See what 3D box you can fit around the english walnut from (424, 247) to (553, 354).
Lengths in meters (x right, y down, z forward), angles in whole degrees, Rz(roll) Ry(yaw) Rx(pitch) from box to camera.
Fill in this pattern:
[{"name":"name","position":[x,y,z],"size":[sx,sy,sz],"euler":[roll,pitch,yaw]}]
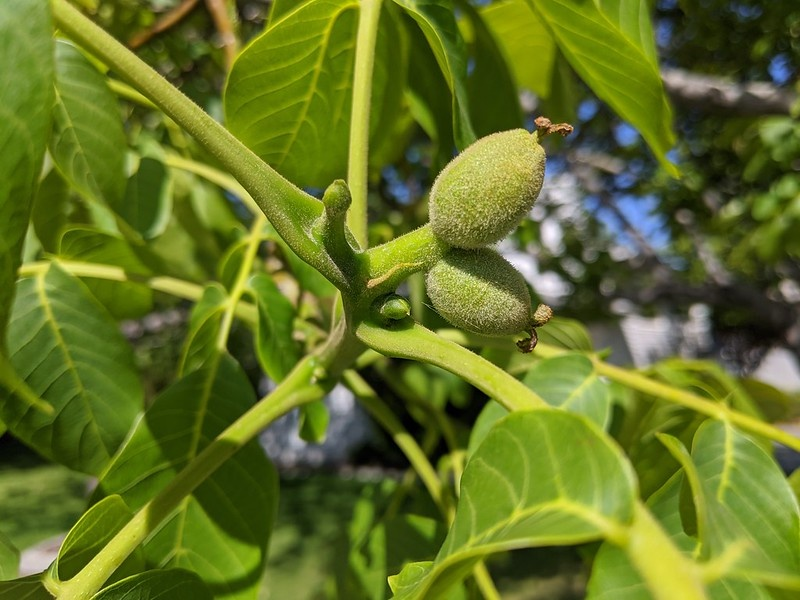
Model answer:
[{"name":"english walnut","position":[0.117,0.003,1.247],"size":[0.202,0.120,0.108],"euler":[27,-69,-4]}]
